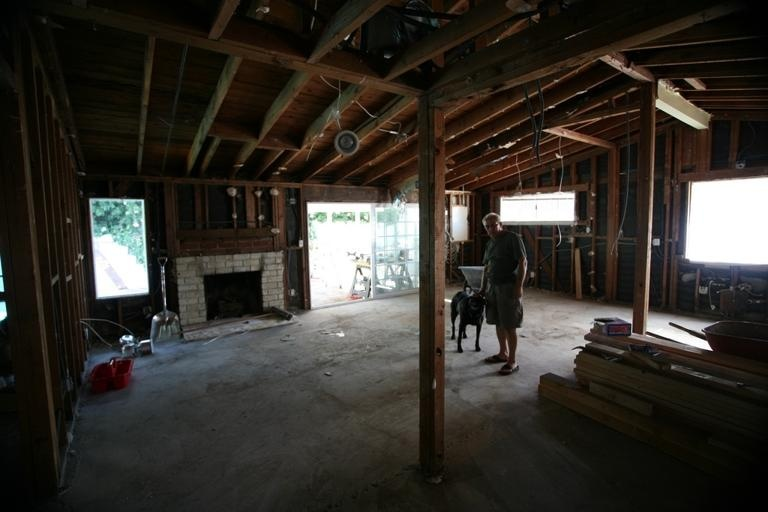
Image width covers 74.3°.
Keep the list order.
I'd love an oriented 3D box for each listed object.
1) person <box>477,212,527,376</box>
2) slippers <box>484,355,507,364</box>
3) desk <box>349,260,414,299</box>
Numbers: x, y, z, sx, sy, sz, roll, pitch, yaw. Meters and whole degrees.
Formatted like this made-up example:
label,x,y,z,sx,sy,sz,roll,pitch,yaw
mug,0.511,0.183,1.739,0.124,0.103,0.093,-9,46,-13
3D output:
label,x,y,z,sx,sy,sz,roll,pitch,yaw
person,1.443,0.434,6.250,0.468,1.918,0.578,0,9,9
slippers,1.397,1.310,6.473,0.214,0.072,0.118,0,-1,2
desk,0.100,0.308,10.730,1.189,0.624,1.112,-11,16,-4
